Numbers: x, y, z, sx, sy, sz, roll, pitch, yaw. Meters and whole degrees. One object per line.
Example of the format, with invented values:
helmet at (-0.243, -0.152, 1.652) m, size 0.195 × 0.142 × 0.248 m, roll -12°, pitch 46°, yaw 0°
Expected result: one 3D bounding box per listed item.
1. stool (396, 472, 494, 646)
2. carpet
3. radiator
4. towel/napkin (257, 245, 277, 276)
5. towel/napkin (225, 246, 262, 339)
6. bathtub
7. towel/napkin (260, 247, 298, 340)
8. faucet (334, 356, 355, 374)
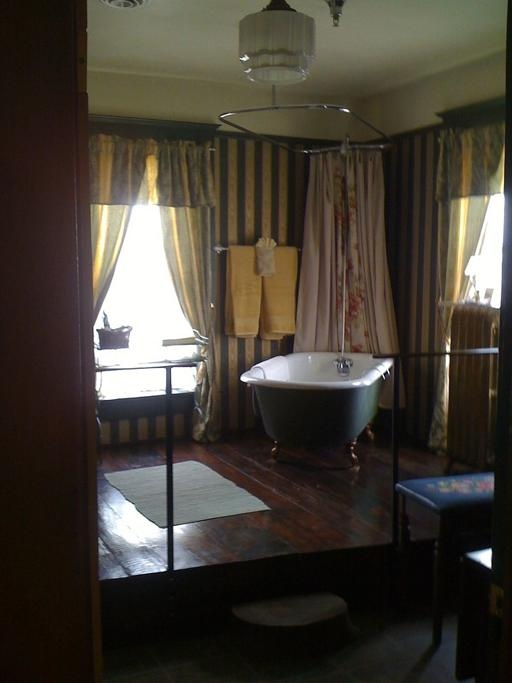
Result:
stool at (0.732, 0.771, 2.214) m, size 0.326 × 0.525 × 0.314 m, roll -1°, pitch 4°, yaw -16°
carpet at (-0.404, 0.765, 3.169) m, size 0.616 × 0.075 × 1.114 m, roll -3°, pitch 5°, yaw -31°
radiator at (1.316, 0.247, 3.657) m, size 0.278 × 0.976 × 0.073 m, roll 3°, pitch 13°, yaw 25°
towel/napkin at (0.065, -0.600, 4.327) m, size 0.101 × 0.262 × 0.076 m, roll -2°, pitch 3°, yaw -5°
towel/napkin at (-0.080, -0.361, 4.349) m, size 0.195 × 0.763 × 0.099 m, roll -5°, pitch -29°, yaw 5°
bathtub at (0.334, 0.423, 3.877) m, size 1.067 × 0.602 × 1.260 m, roll 1°, pitch 4°, yaw 15°
towel/napkin at (0.163, -0.410, 4.433) m, size 0.254 × 0.776 × 0.091 m, roll 4°, pitch 42°, yaw 6°
faucet at (0.636, 0.173, 4.318) m, size 0.091 × 0.197 × 0.114 m, roll 0°, pitch -1°, yaw 2°
